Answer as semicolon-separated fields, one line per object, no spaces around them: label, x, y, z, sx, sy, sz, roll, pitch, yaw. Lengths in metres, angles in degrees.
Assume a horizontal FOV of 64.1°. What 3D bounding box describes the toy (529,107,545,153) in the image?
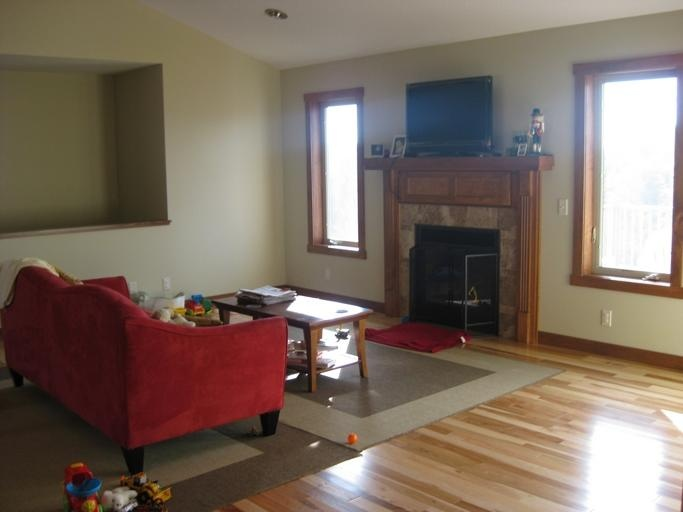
toy;1.819;-1.146;5.025;0.167;0.400;0.140;-1;10;-4

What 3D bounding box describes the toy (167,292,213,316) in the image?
toy;-1.517;0.518;5.601;0.252;0.147;0.352;-1;9;-22

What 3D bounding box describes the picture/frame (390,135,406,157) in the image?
picture/frame;0.622;-1.193;5.948;0.163;0.238;0.180;0;10;4

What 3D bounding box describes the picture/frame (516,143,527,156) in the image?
picture/frame;1.697;-0.993;5.091;0.100;0.110;0.082;0;10;4

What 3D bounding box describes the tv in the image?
tv;1.116;-1.406;5.476;0.877;0.686;0.092;7;10;43

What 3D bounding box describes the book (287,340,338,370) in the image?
book;-0.265;0.808;4.424;0.250;0.069;0.254;9;11;44

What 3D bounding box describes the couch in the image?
couch;-1.376;0.662;3.459;1.866;1.055;0.799;5;12;27
